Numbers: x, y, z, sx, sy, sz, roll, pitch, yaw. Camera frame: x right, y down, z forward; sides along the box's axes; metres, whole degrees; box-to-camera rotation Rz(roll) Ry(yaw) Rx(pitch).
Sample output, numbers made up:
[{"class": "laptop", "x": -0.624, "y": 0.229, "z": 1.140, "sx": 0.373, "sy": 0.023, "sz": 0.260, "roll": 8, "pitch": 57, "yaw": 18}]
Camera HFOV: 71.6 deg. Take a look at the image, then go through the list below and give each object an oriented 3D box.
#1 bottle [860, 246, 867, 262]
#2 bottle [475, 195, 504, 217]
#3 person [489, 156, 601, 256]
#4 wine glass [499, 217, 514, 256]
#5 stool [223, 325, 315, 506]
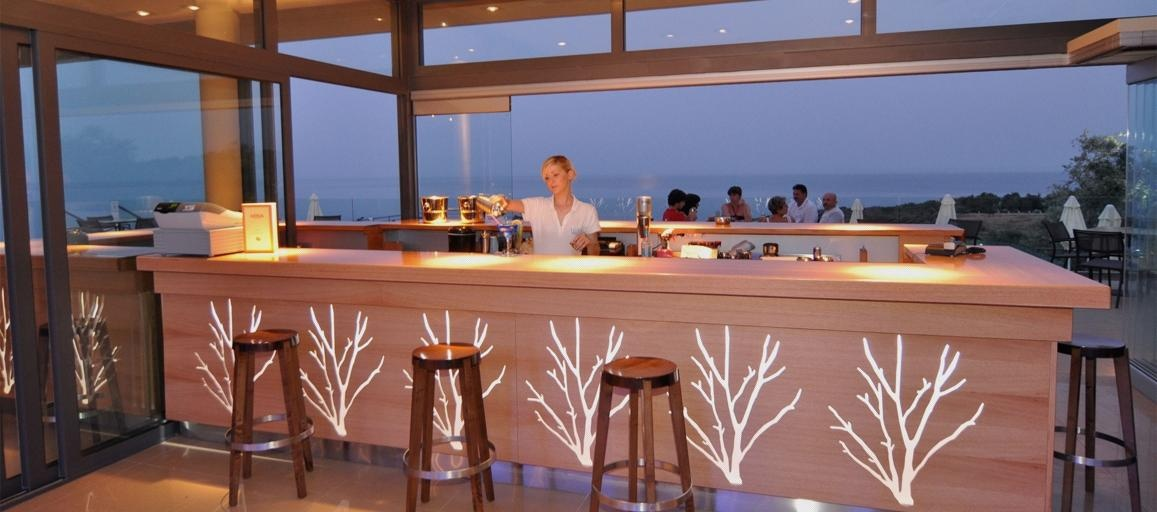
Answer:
[{"class": "bottle", "x": 3.569, "y": -0.021, "z": 10.008, "sx": 0.104, "sy": 0.156, "sz": 0.204, "roll": 0, "pitch": 7, "yaw": 21}, {"class": "bottle", "x": -1.001, "y": -0.576, "z": 9.150, "sx": 0.297, "sy": 0.236, "sz": 0.345, "roll": -2, "pitch": 7, "yaw": 0}, {"class": "person", "x": -0.342, "y": -0.589, "z": 9.453, "sx": 1.111, "sy": 1.167, "sz": 0.758, "roll": -2, "pitch": 7, "yaw": 2}, {"class": "wine glass", "x": -0.812, "y": -0.206, "z": 9.080, "sx": 0.162, "sy": 0.373, "sz": 0.303, "roll": -3, "pitch": 7, "yaw": -5}, {"class": "stool", "x": -3.377, "y": 1.727, "z": 8.707, "sx": 0.929, "sy": 1.854, "sz": 0.624, "roll": -3, "pitch": 7, "yaw": -2}]
